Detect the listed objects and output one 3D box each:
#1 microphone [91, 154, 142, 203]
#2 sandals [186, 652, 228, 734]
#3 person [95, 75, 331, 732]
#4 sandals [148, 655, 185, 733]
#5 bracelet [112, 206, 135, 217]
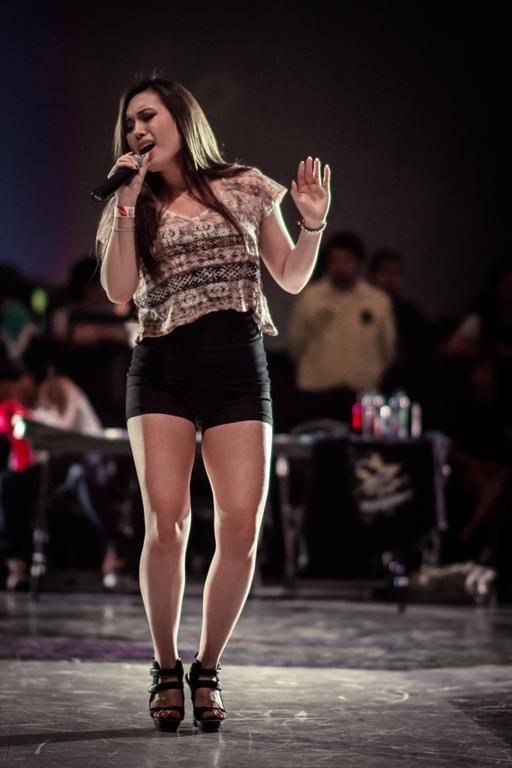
[{"bbox_3d":[-0.228,-0.376,1.512,0.038,0.049,0.164,-27,15,36],"label":"microphone"},{"bbox_3d":[-0.087,0.539,1.444,0.045,0.051,0.129,-2,11,-10],"label":"sandals"},{"bbox_3d":[-0.086,0.004,1.542,0.418,1.114,0.510,4,11,-10],"label":"person"},{"bbox_3d":[-0.155,0.543,1.441,0.060,0.107,0.118,5,11,-5],"label":"sandals"},{"bbox_3d":[-0.239,-0.310,1.519,0.026,0.014,0.024,-1,2,-12],"label":"bracelet"}]
